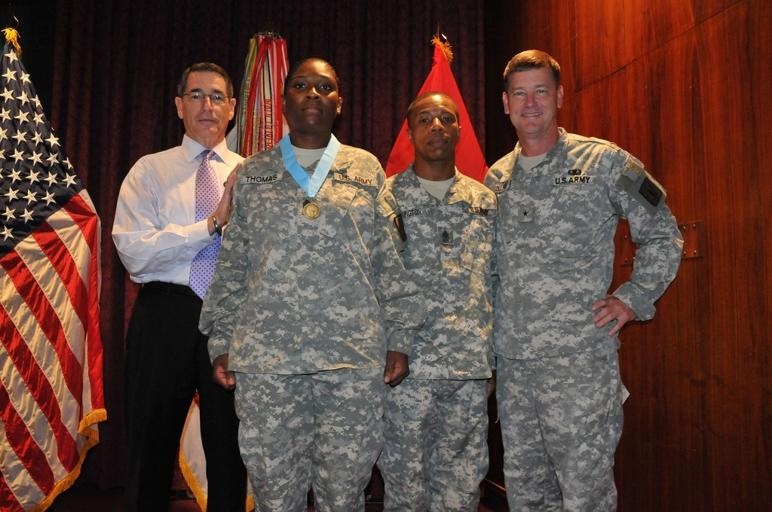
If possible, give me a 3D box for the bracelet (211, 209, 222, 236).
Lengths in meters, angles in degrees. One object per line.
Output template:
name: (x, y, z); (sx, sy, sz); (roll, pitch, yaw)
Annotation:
bracelet: (-0.836, -0.164, 3.919); (0.038, 0.104, 0.090); (-11, 19, -6)
